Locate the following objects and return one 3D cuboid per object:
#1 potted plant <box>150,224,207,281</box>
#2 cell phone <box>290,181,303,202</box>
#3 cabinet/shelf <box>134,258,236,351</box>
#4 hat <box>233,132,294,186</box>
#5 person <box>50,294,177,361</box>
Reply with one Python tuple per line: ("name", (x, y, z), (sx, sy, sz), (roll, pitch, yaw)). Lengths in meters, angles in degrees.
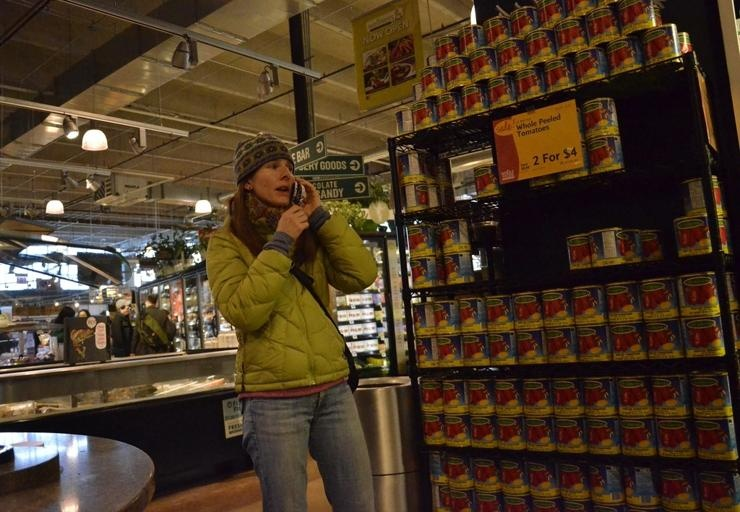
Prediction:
("potted plant", (-4.850, -0.077, 15.122), (1.802, 1.414, 2.136), (-3, 2, -18))
("cell phone", (-0.357, -0.307, 2.962), (0.098, 0.080, 0.079), (-1, 13, -9))
("cabinet/shelf", (-3.175, 0.874, 10.266), (0.775, 1.747, 2.122), (-8, -13, -44))
("hat", (-0.511, -0.477, 3.038), (0.299, 0.197, 0.268), (-12, -2, -5))
("person", (-3.668, 1.092, 9.545), (0.662, 0.922, 1.234), (1, -7, -44))
